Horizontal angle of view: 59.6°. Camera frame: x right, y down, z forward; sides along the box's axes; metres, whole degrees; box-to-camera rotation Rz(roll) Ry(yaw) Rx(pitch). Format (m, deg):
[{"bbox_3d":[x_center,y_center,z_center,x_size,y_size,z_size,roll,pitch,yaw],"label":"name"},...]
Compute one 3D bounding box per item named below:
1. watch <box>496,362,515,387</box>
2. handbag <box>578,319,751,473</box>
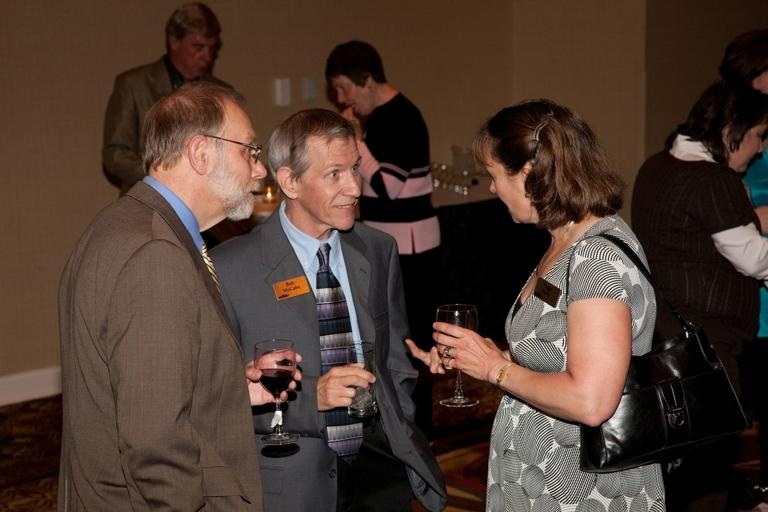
[{"bbox_3d":[0.438,0.430,2.485,0.023,0.082,0.079,26,-24,4],"label":"watch"},{"bbox_3d":[0.996,0.494,2.408,0.646,0.462,0.123,-8,4,-16],"label":"handbag"}]
